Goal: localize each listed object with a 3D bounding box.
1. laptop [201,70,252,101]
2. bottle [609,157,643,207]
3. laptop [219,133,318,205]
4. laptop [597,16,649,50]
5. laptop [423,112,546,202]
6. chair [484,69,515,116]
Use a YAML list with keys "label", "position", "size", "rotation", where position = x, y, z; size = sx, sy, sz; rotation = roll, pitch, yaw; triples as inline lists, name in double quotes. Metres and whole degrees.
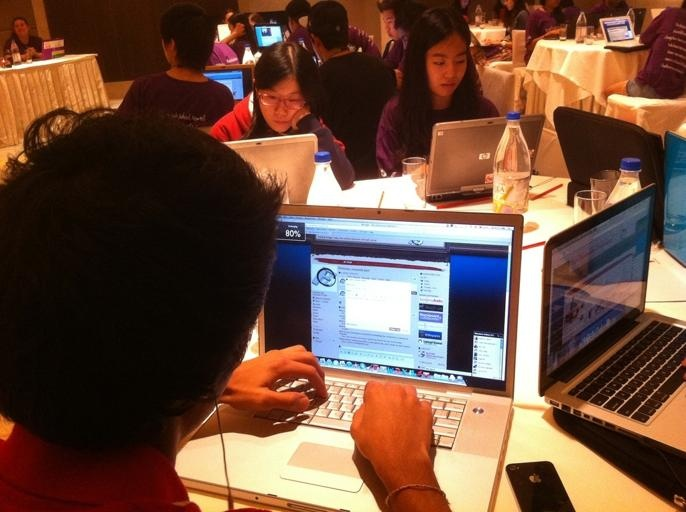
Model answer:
- label: "laptop"
  position: [-0.922, -1.353, 4.398]
  size: [0.397, 0.258, 0.099]
  rotation: [-19, 28, -31]
- label: "bottle"
  position: [0.797, -0.205, 1.543]
  size: [0.090, 0.214, 0.084]
  rotation: [-13, 41, 11]
- label: "laptop"
  position: [-0.251, -0.298, 2.078]
  size: [0.374, 0.251, 0.290]
  rotation: [-1, 6, 14]
- label: "laptop"
  position: [2.564, -2.006, 4.946]
  size: [0.435, 0.228, 0.378]
  rotation: [-23, 30, -33]
- label: "laptop"
  position: [0.527, -0.475, 2.248]
  size: [0.441, 0.314, 0.337]
  rotation: [-8, 43, -6]
- label: "chair"
  position: [1.097, -1.158, 3.903]
  size: [0.195, 0.279, 0.447]
  rotation: [0, 24, 10]
